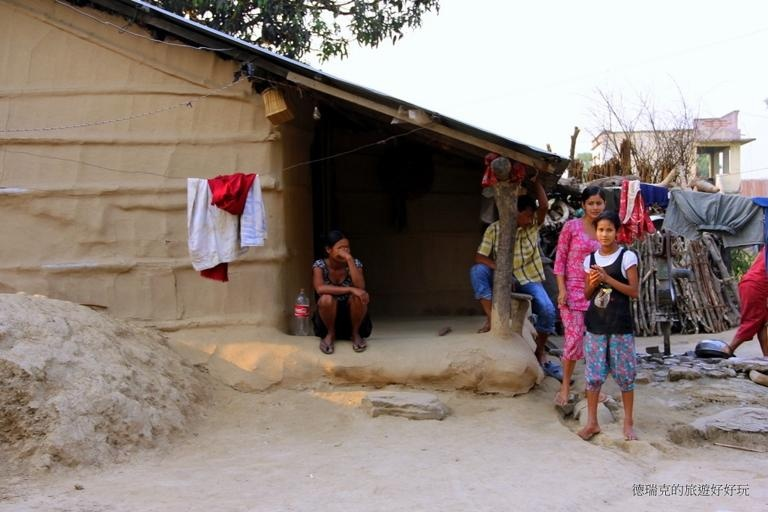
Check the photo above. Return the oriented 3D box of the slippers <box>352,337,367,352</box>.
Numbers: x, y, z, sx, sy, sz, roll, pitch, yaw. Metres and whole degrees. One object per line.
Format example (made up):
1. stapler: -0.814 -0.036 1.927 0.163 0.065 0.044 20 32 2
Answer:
1. slippers: -0.297 1.060 7.878 0.157 0.128 0.310 0 -4 -2

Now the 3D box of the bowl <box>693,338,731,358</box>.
1. bowl: 4.597 1.305 9.299 0.463 0.216 0.353 -1 -1 24

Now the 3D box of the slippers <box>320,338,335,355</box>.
1. slippers: -0.674 1.079 7.852 0.146 0.103 0.288 2 -10 -5

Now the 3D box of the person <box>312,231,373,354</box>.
1. person: -0.509 0.431 7.882 0.680 1.435 0.563 0 -1 -3

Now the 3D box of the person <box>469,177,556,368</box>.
1. person: 1.718 0.231 8.364 1.209 2.454 0.963 0 -1 -40

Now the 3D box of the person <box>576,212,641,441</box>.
1. person: 2.272 0.728 6.784 0.593 2.352 0.383 0 -1 16
